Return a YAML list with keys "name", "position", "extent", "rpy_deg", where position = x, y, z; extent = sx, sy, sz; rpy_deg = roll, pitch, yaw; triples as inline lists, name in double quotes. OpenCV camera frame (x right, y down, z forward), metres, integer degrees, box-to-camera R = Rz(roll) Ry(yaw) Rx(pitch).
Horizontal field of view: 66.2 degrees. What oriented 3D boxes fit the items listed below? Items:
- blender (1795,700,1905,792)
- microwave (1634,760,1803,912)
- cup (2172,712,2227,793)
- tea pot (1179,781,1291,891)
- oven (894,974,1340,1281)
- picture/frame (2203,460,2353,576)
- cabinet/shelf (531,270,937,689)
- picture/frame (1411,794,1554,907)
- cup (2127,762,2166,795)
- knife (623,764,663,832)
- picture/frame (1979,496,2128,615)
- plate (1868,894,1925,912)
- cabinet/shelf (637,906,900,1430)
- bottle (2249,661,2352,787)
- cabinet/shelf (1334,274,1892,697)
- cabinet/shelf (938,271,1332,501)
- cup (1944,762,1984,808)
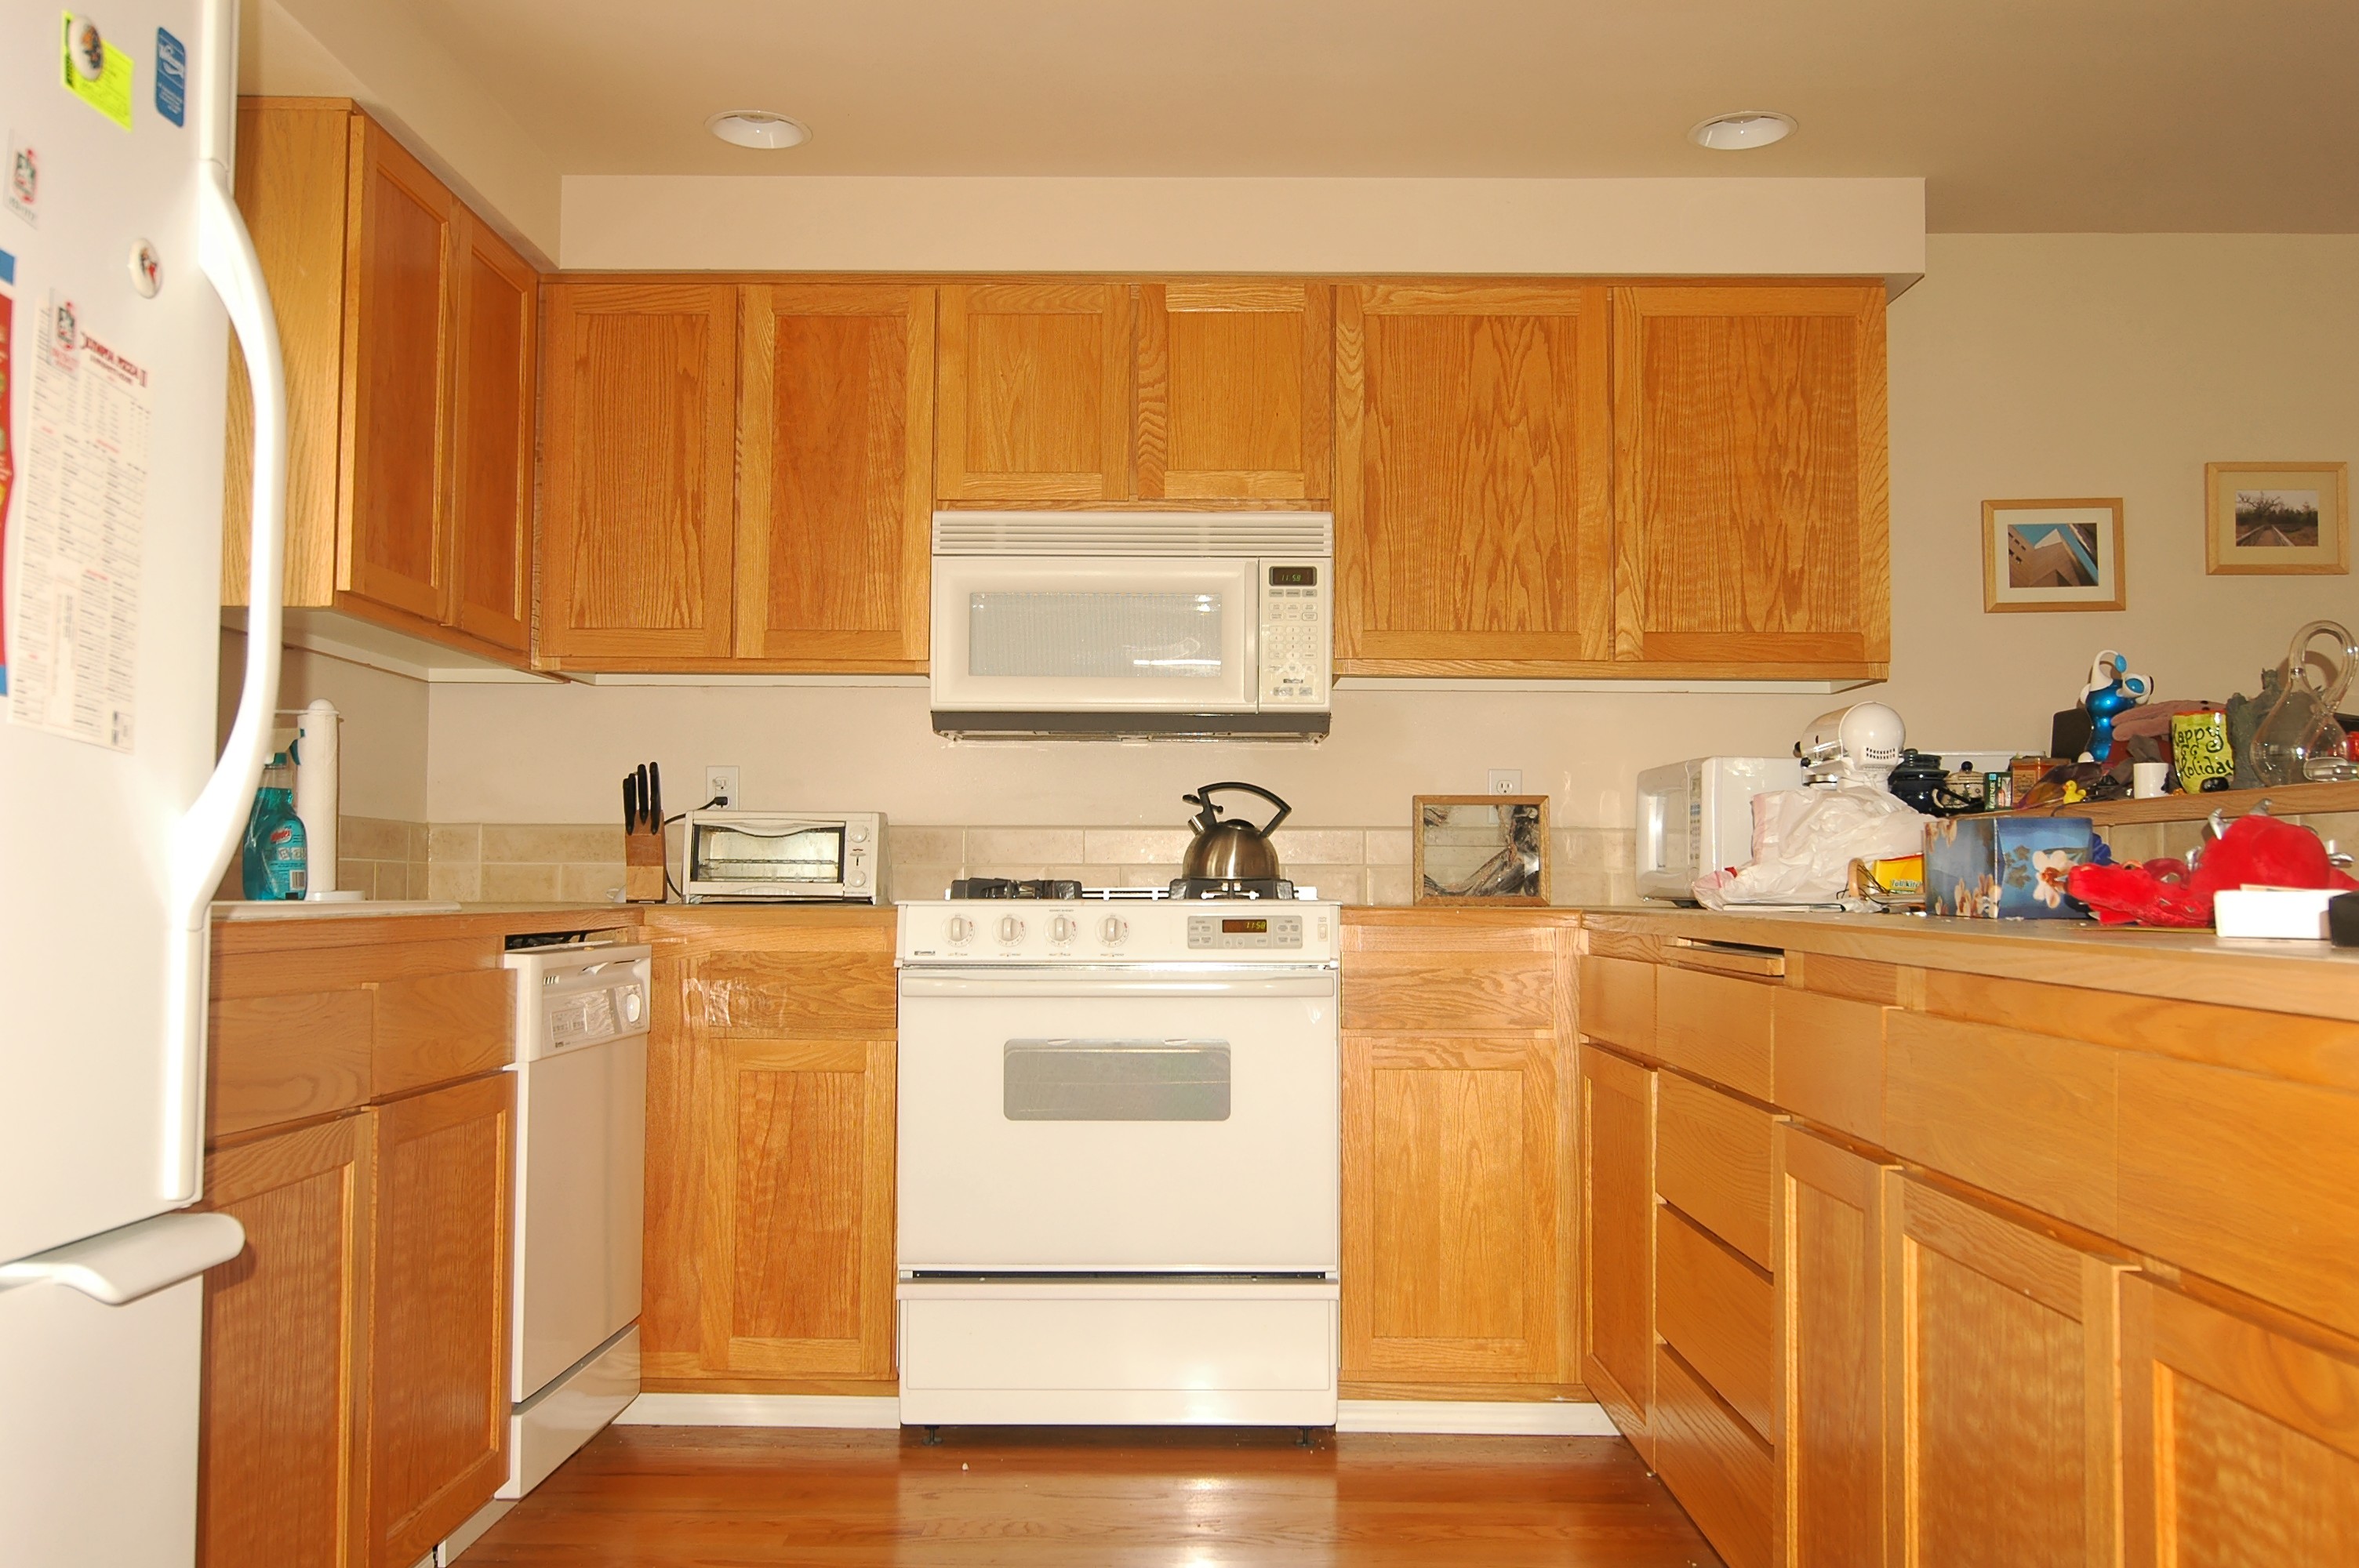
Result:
- name: "blender"
  position: [1.293, -0.072, 3.536]
  extent: [0.195, 0.157, 0.148]
  rpy_deg: [4, 3, 28]
- name: "microwave"
  position: [1.265, 0.113, 4.231]
  extent: [0.309, 0.331, 0.528]
  rpy_deg: [-4, -2, -7]
- name: "cup"
  position: [1.855, -0.059, 3.304]
  extent: [0.085, 0.143, 0.186]
  rpy_deg: [2, 5, 18]
- name: "tea pot"
  position: [0.140, 0.135, 4.152]
  extent: [0.279, 0.266, 0.227]
  rpy_deg: [0, -5, 5]
- name: "oven"
  position: [-0.121, 0.622, 4.109]
  extent: [1.014, 0.641, 0.644]
  rpy_deg: [0, -10, 0]
- name: "picture/frame"
  position: [2.745, -0.658, 4.552]
  extent: [0.314, 0.284, 0.031]
  rpy_deg: [1, -4, 2]
- name: "cabinet/shelf"
  position: [-1.045, -0.712, 4.209]
  extent: [1.045, 0.897, 0.386]
  rpy_deg: [1, -3, -1]
- name: "picture/frame"
  position: [0.734, 0.170, 4.420]
  extent: [0.290, 0.217, 0.020]
  rpy_deg: [1, -11, -2]
- name: "cup"
  position: [1.825, -0.006, 3.418]
  extent: [0.055, 0.062, 0.059]
  rpy_deg: [1, 5, 0]
- name: "knife"
  position: [-1.249, 0.037, 4.242]
  extent: [0.074, 0.149, 0.122]
  rpy_deg: [-1, 5, -13]
- name: "picture/frame"
  position: [2.196, -0.563, 4.553]
  extent: [0.326, 0.253, 0.023]
  rpy_deg: [0, -3, 3]
- name: "plate"
  position: [1.249, 0.214, 3.157]
  extent: [0.079, 0.021, 0.123]
  rpy_deg: [2, 5, 18]
- name: "cabinet/shelf"
  position: [-0.909, 0.879, 4.179]
  extent: [0.727, 1.122, 0.716]
  rpy_deg: [-2, -11, 4]
- name: "bottle"
  position: [1.871, -0.099, 3.041]
  extent: [0.132, 0.219, 0.316]
  rpy_deg: [3, 6, 27]
- name: "cabinet/shelf"
  position: [0.961, -0.725, 4.676]
  extent: [1.335, 0.923, 1.003]
  rpy_deg: [-1, 2, -3]
- name: "cabinet/shelf"
  position: [-0.071, -0.949, 4.445]
  extent: [0.959, 0.531, 0.463]
  rpy_deg: [2, 9, 9]
- name: "cup"
  position: [1.618, 0.017, 3.734]
  extent: [0.063, 0.070, 0.120]
  rpy_deg: [5, 6, 37]
